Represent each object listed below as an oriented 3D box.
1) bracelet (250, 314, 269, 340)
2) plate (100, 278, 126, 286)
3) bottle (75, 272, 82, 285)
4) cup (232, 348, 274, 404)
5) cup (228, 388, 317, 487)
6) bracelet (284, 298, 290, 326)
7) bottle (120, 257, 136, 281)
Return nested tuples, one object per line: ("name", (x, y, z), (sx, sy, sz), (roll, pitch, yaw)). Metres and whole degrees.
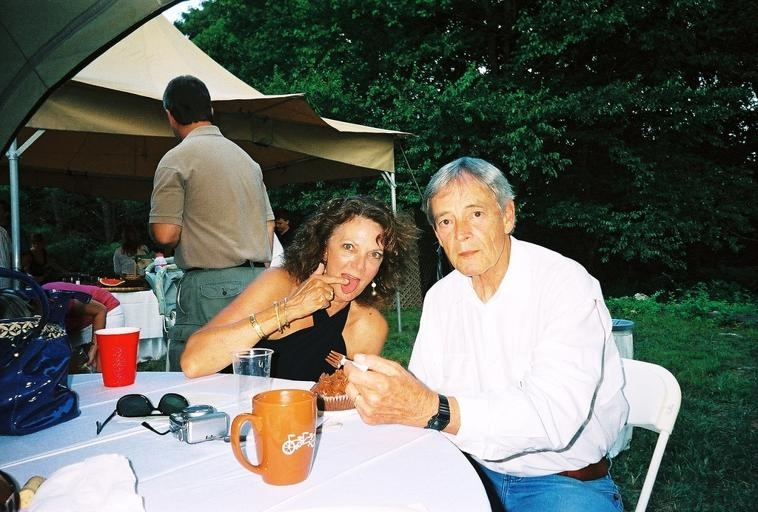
("bracelet", (-0.600, 0.349, 3.084), (0.078, 0.115, 0.046), (0, 0, -12))
("plate", (-2.675, 0.265, 6.255), (0.158, 0.053, 0.112), (7, -11, -32))
("bottle", (-2.922, 0.225, 6.073), (0.070, 0.136, 0.073), (0, -5, 0))
("cup", (-0.554, 0.515, 2.808), (0.205, 0.236, 0.216), (-1, 4, 0))
("cup", (-0.393, 0.659, 2.408), (0.378, 0.361, 0.239), (-5, 5, -39))
("bracelet", (-0.467, 0.278, 3.134), (0.025, 0.118, 0.062), (0, 0, -8))
("bottle", (-3.129, 0.160, 7.820), (0.202, 0.338, 0.200), (0, -10, 0))
